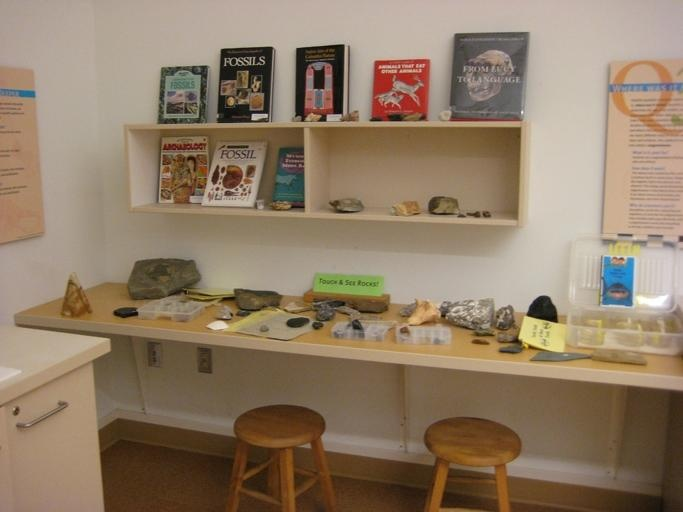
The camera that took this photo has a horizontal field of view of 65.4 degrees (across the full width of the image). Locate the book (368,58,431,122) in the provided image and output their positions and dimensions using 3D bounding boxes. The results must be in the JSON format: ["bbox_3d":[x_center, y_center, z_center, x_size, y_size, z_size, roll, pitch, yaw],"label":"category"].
[{"bbox_3d":[0.285,-0.801,2.560,0.274,0.293,0.102,2,8,9],"label":"book"}]

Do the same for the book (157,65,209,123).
[{"bbox_3d":[-0.841,-0.863,2.841,0.369,0.362,0.044,1,3,16],"label":"book"}]

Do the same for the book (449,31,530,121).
[{"bbox_3d":[0.701,-0.830,2.459,0.461,0.462,0.067,5,5,15],"label":"book"}]

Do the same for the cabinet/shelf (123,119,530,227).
[{"bbox_3d":[-0.178,-0.478,3.036,2.404,0.502,0.435,3,16,20],"label":"cabinet/shelf"}]

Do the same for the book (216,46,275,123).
[{"bbox_3d":[-0.503,-0.883,2.750,0.282,0.375,0.077,4,8,18],"label":"book"}]

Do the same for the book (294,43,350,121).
[{"bbox_3d":[-0.108,-0.860,2.648,0.261,0.365,0.100,2,8,5],"label":"book"}]
